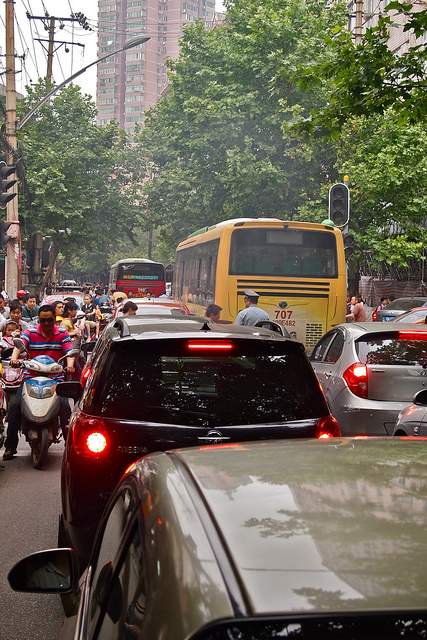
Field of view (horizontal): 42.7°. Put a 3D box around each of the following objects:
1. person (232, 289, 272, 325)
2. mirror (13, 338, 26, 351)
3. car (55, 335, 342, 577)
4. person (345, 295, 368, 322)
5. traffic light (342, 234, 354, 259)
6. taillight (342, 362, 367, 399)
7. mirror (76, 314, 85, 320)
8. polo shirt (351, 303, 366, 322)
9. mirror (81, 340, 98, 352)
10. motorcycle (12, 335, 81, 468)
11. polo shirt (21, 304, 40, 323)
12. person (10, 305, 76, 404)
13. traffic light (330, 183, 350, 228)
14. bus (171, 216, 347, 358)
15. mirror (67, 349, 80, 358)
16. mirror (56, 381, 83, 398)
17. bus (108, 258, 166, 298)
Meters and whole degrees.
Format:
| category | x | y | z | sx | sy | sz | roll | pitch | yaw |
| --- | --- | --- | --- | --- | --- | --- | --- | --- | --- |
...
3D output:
| category | x | y | z | sx | sy | sz | roll | pitch | yaw |
| --- | --- | --- | --- | --- | --- | --- | --- | --- | --- |
| person | 0.867 | -0.307 | 12.138 | 0.747 | 1.366 | 0.495 | 4 | -16 | -6 |
| mirror | -2.751 | 0.348 | 7.772 | 0.111 | 0.247 | 0.090 | -21 | 21 | -10 |
| car | -0.159 | 1.225 | 5.170 | 1.928 | 1.788 | 3.683 | 2 | -9 | -5 |
| person | 5.125 | -0.388 | 19.578 | 0.499 | 0.763 | 1.689 | -12 | 3 | 14 |
| traffic light | 3.430 | -1.899 | 13.910 | 0.280 | 0.533 | 1.028 | -12 | 3 | 14 |
| taillight | 1.961 | 0.831 | 7.461 | 0.309 | 0.432 | 0.160 | 0 | 3 | -1 |
| mirror | -2.824 | -0.063 | 11.629 | 0.149 | 0.107 | 0.346 | -13 | 3 | -13 |
| polo shirt | 5.100 | -0.255 | 19.247 | 0.419 | 0.724 | 0.531 | 22 | 29 | 39 |
| mirror | -1.864 | 0.398 | 8.225 | 0.224 | 0.219 | 0.225 | -13 | -17 | -15 |
| motorcycle | -2.637 | 1.184 | 8.459 | 0.910 | 1.657 | 2.305 | 3 | 2 | -16 |
| polo shirt | -4.389 | -0.143 | 13.090 | 0.394 | 0.501 | 0.281 | 2 | 21 | 7 |
| person | -2.499 | 0.613 | 8.071 | 0.928 | 1.613 | 1.056 | 7 | -25 | -8 |
| traffic light | 3.193 | -2.909 | 13.938 | 0.480 | 0.923 | 0.610 | -14 | 3 | -25 |
| bus | 1.094 | -1.318 | 17.958 | 2.859 | 3.526 | 7.841 | 1 | 2 | -15 |
| mirror | -1.983 | 0.482 | 7.755 | 0.158 | 0.117 | 0.372 | -13 | 3 | -18 |
| mirror | -1.528 | 0.750 | 5.785 | 0.266 | 0.128 | 0.365 | 0 | 3 | -4 |
| bus | -5.620 | -3.085 | 39.430 | 3.431 | 3.431 | 5.571 | -2 | 4 | -17 |
